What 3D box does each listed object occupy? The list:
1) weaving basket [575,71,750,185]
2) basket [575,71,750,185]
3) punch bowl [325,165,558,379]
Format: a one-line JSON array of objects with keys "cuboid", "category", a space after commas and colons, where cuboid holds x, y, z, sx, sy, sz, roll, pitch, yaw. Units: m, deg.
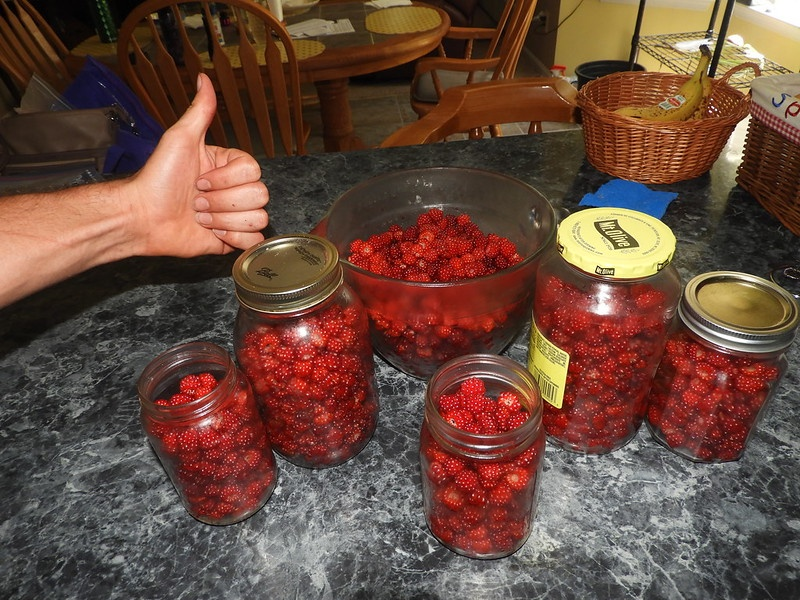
[{"cuboid": [0.633, -0.440, 1.328, 0.404, 0.190, 0.273, -11, 48, -5], "category": "weaving basket"}, {"cuboid": [0.623, -0.402, 1.345, 0.378, 0.230, 0.296, 4, 32, -1], "category": "basket"}, {"cuboid": [0.066, -0.027, 1.001, 0.484, 0.265, 0.361, 3, 39, 7], "category": "punch bowl"}]
